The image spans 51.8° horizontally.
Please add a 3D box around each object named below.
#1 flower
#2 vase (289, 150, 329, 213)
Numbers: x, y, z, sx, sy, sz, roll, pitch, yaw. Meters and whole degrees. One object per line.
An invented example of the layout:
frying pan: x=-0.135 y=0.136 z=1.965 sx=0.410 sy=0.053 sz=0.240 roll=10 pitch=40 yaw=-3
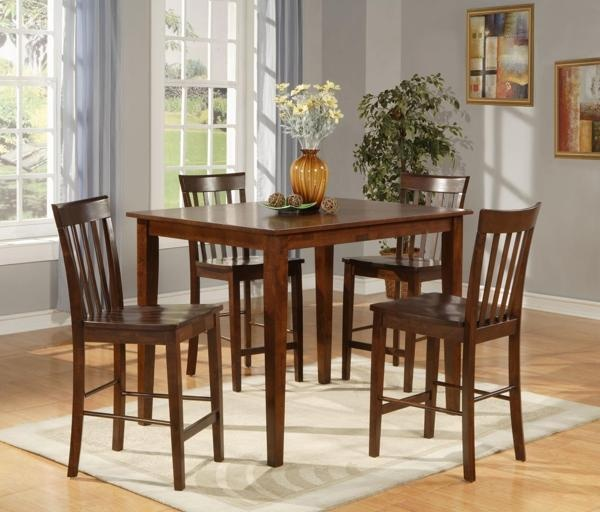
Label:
flower: x=0.022 y=-0.652 z=3.027 sx=0.328 sy=0.293 sz=0.254 roll=-2 pitch=17 yaw=-16
vase: x=0.052 y=-0.389 z=3.011 sx=0.172 sy=0.250 sz=0.178 roll=12 pitch=21 yaw=42
